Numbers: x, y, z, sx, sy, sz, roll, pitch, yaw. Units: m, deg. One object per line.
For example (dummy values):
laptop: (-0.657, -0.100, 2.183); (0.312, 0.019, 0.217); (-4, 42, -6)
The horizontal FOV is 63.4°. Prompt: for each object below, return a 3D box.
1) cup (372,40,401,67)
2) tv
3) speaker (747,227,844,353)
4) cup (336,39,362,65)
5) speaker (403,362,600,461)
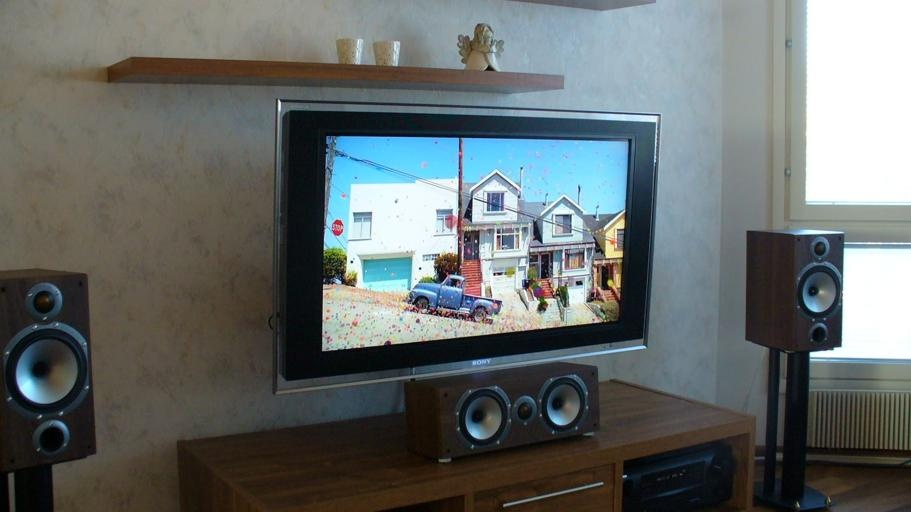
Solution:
cup: (-0.344, -1.011, 3.751); (0.157, 0.114, 0.142); (-3, 4, -14)
tv: (-0.011, -0.064, 3.664); (1.647, 0.998, 0.039); (-1, 5, -18)
speaker: (1.896, 0.199, 4.153); (0.496, 0.674, 0.214); (0, 6, 24)
cup: (-0.528, -1.013, 3.670); (0.119, 0.145, 0.129); (-2, 5, 0)
speaker: (0.266, 0.772, 3.731); (0.962, 0.351, 0.329); (-1, 1, -30)
